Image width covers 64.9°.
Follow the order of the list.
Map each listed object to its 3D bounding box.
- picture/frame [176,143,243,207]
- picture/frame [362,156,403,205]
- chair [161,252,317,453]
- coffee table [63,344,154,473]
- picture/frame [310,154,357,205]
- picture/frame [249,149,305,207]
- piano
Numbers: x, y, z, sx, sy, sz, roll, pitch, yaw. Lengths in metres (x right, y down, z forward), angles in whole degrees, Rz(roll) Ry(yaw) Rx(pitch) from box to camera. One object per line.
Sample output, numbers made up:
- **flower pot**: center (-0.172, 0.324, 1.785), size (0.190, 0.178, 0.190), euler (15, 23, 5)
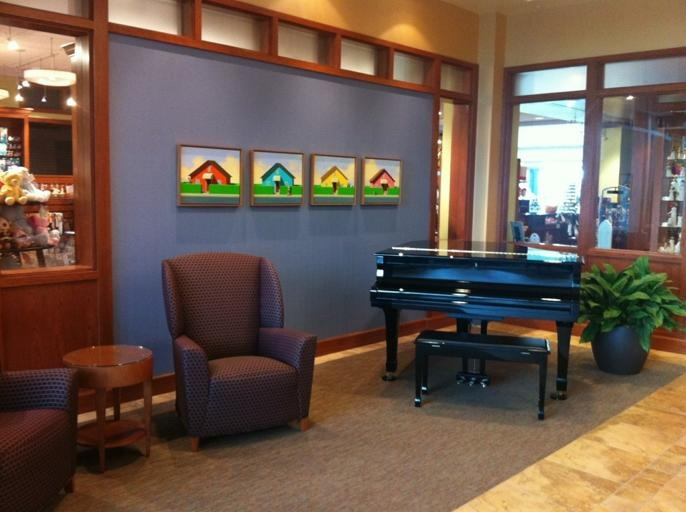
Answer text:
- **picture/frame**: center (-1.265, -0.752, 4.985), size (0.655, 0.550, 0.064), euler (0, 1, -44)
- **picture/frame**: center (0.454, -0.875, 6.433), size (0.565, 0.511, 0.062), euler (-3, 9, -34)
- **chair**: center (-0.893, 0.672, 4.422), size (1.152, 1.315, 1.206), euler (-1, 2, -20)
- **coffee table**: center (-1.687, 1.035, 3.898), size (0.578, 0.647, 0.603), euler (3, 1, 32)
- **picture/frame**: center (-0.115, -0.841, 5.939), size (0.153, 0.540, 0.632), euler (11, 14, 41)
- **picture/frame**: center (-0.695, -0.796, 5.454), size (0.630, 0.567, 0.066), euler (-2, 3, -42)
- **piano**: center (1.425, 0.577, 5.594), size (2.173, 1.251, 2.415), euler (-1, 5, -13)
